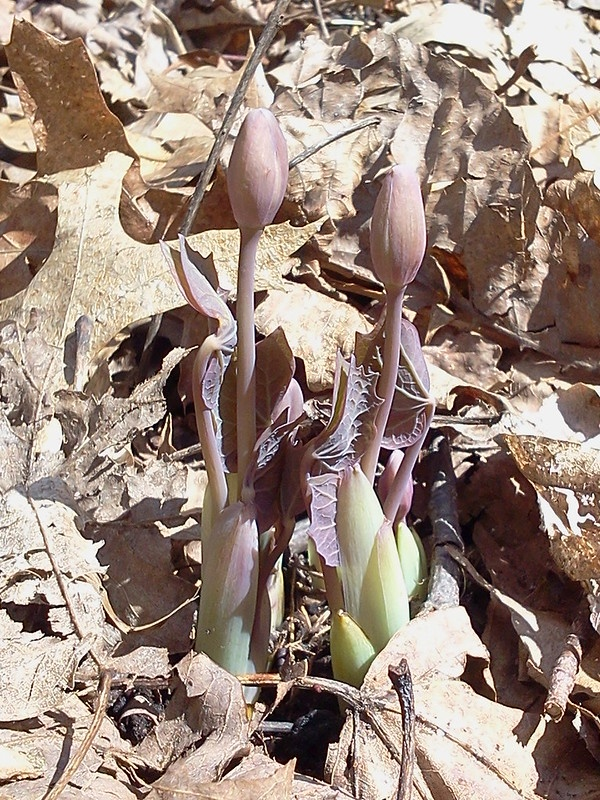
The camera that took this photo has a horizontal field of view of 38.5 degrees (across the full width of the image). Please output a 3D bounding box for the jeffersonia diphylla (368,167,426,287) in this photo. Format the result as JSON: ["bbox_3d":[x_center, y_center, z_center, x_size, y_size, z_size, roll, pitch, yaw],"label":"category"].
[{"bbox_3d":[0.125,-0.221,1.113,0.062,0.144,0.052,33,36,33],"label":"jeffersonia diphylla"}]

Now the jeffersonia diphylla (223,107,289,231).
[{"bbox_3d":[-0.054,-0.285,1.086,0.075,0.148,0.069,-3,33,-25],"label":"jeffersonia diphylla"}]
